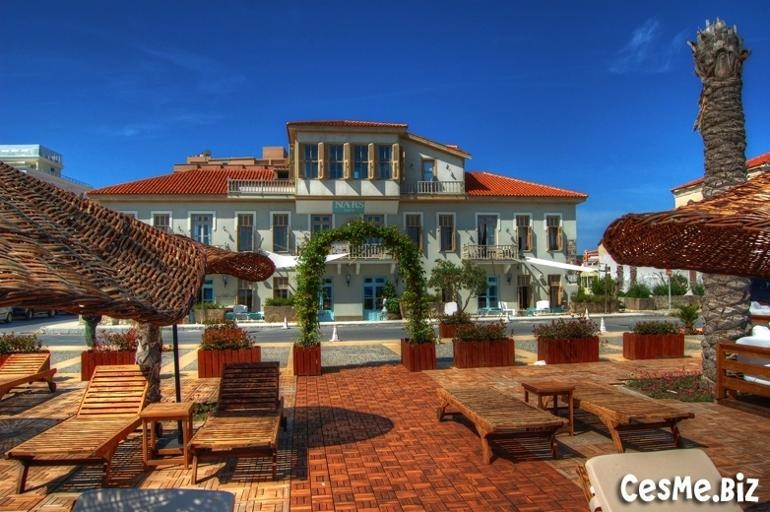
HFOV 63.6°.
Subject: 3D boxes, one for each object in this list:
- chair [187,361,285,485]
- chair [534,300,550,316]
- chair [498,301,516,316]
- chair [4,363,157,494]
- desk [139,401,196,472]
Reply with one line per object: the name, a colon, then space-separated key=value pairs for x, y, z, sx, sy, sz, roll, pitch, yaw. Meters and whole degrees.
chair: x=-2.524 y=2.799 z=10.785 sx=1.400 sy=1.571 sz=1.956 roll=-1 pitch=3 yaw=-6
chair: x=8.926 y=2.961 z=35.612 sx=0.830 sy=1.067 sz=0.794 roll=2 pitch=-8 yaw=-28
chair: x=6.964 y=3.012 z=35.438 sx=0.884 sy=0.377 sz=1.218 roll=1 pitch=4 yaw=9
chair: x=-4.928 y=2.845 z=10.462 sx=1.595 sy=1.620 sz=1.910 roll=0 pitch=3 yaw=7
desk: x=-3.719 y=3.020 z=10.309 sx=0.887 sy=0.753 sz=0.711 roll=-6 pitch=-20 yaw=6
